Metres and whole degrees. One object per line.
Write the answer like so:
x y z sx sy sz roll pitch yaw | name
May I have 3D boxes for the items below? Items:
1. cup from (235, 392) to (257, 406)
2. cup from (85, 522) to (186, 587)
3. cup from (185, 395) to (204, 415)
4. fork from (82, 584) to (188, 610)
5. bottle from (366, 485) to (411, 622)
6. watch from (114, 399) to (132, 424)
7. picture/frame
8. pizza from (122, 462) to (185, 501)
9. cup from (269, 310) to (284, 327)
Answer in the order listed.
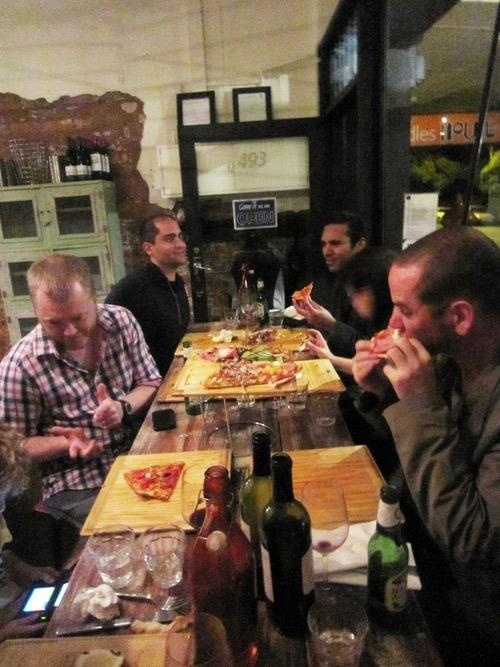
-0.012 0.183 1.423 0.041 0.037 0.035 -10 19 -23 | cup
-0.171 0.339 0.791 0.127 0.047 0.075 -4 24 5 | cup
-0.147 0.189 1.419 0.049 0.046 0.044 -11 20 -20 | cup
-0.159 0.372 0.731 0.167 0.021 0.020 0 39 11 | fork
0.185 0.278 0.705 0.058 0.209 0.103 -1 19 16 | bottle
-0.356 0.220 1.493 0.065 0.066 0.047 -7 3 33 | watch
-0.068 -0.582 1.319 0.252 0.098 0.142 -4 17 4 | picture/frame
-0.182 0.284 1.005 0.088 0.012 0.088 -3 12 -15 | pizza
0.102 -0.063 2.049 0.058 0.053 0.051 -2 36 10 | cup
